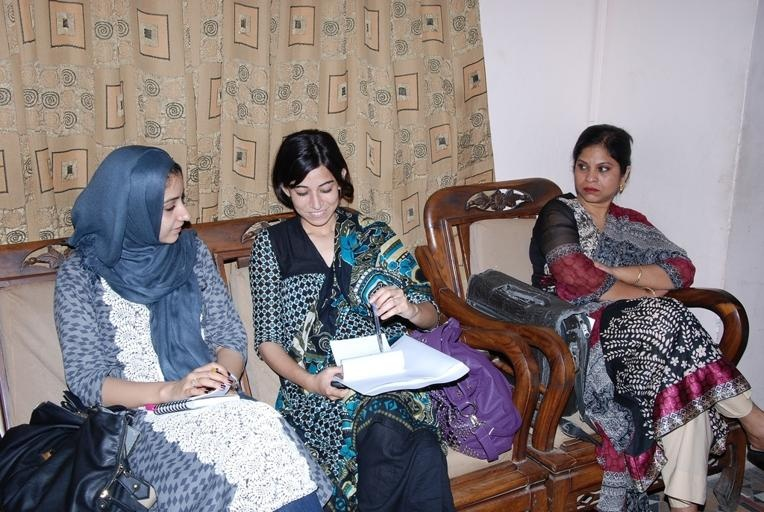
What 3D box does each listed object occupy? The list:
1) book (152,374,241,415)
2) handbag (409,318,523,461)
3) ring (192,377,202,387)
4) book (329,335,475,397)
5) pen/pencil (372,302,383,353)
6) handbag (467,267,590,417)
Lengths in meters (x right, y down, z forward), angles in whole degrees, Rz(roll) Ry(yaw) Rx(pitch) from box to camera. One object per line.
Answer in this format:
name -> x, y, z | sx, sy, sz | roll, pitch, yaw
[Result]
book -> -0.613, 0.472, 1.835 | 0.198, 0.051, 0.143 | -20, 3, -9
handbag -> 0.273, 0.488, 2.161 | 0.412, 0.201, 0.565 | -7, 48, -24
ring -> -0.608, 0.417, 1.849 | 0.022, 0.022, 0.023 | -1, -6, 0
book -> 0.045, 0.388, 1.915 | 0.416, 0.173, 0.340 | -6, 10, -12
pen/pencil -> -0.011, 0.239, 2.009 | 0.025, 0.026, 0.235 | 0, 48, -11
handbag -> 0.676, 0.485, 2.571 | 0.282, 0.689, 0.740 | -14, 20, -16
